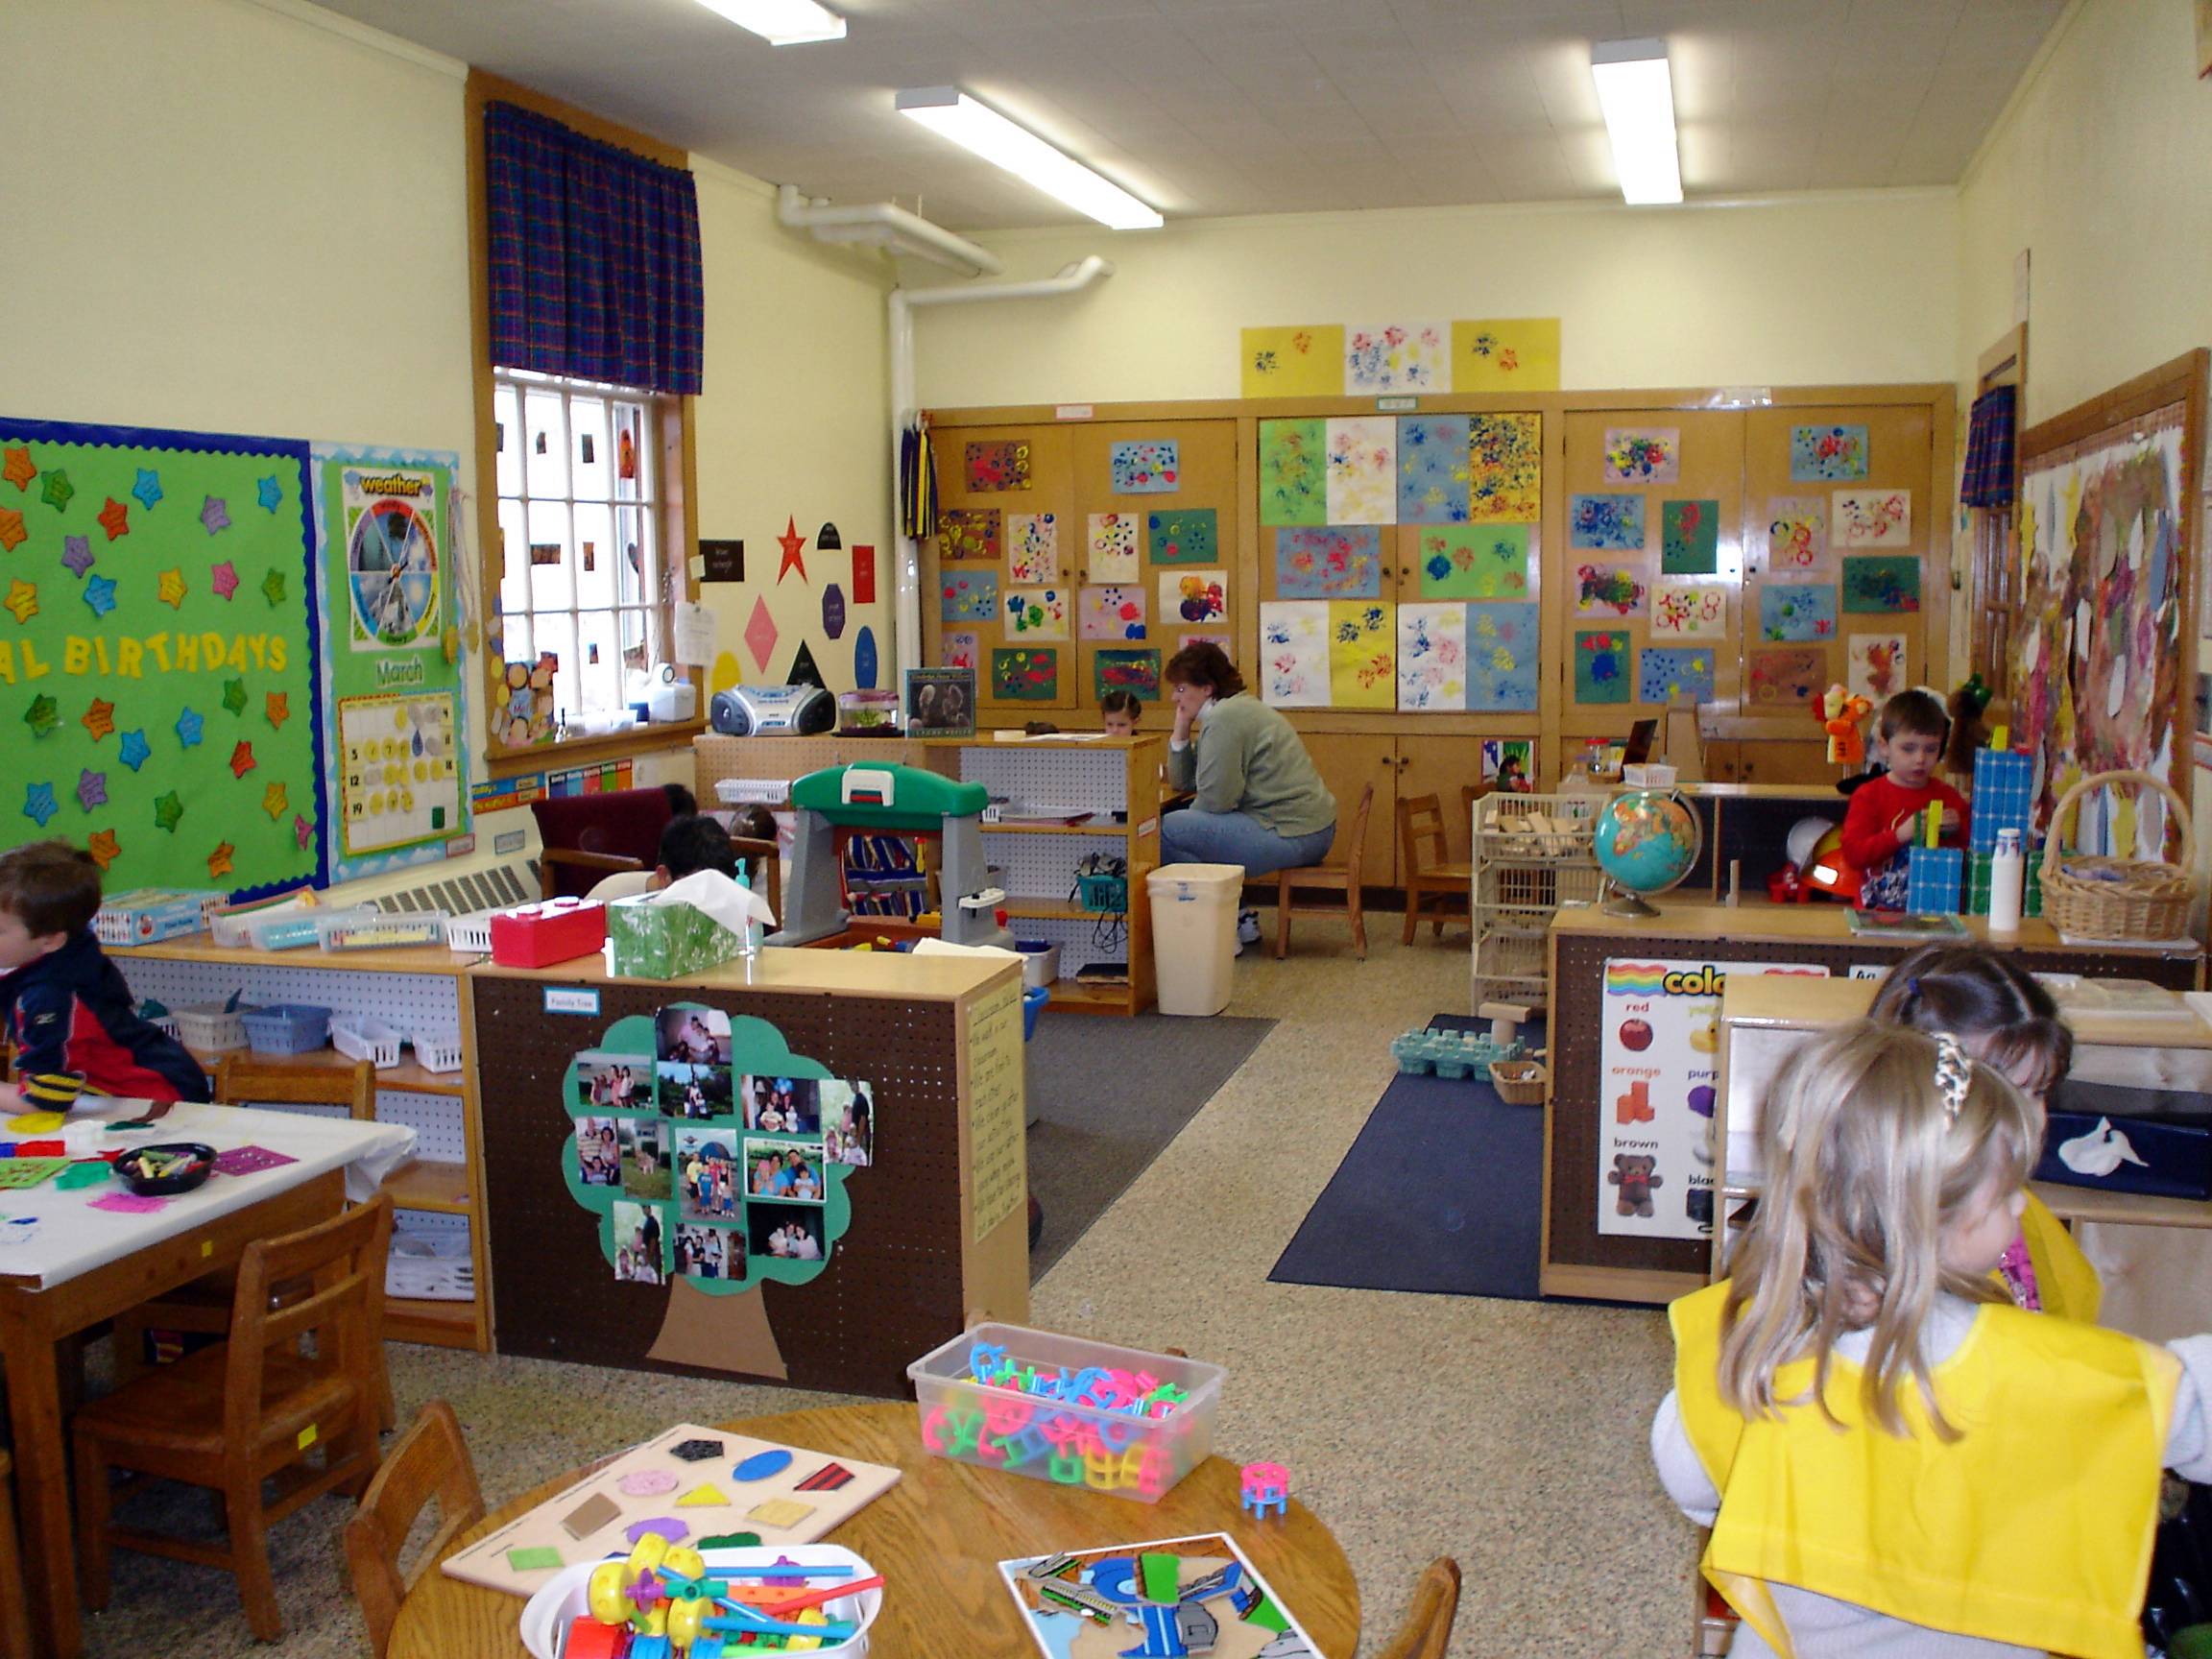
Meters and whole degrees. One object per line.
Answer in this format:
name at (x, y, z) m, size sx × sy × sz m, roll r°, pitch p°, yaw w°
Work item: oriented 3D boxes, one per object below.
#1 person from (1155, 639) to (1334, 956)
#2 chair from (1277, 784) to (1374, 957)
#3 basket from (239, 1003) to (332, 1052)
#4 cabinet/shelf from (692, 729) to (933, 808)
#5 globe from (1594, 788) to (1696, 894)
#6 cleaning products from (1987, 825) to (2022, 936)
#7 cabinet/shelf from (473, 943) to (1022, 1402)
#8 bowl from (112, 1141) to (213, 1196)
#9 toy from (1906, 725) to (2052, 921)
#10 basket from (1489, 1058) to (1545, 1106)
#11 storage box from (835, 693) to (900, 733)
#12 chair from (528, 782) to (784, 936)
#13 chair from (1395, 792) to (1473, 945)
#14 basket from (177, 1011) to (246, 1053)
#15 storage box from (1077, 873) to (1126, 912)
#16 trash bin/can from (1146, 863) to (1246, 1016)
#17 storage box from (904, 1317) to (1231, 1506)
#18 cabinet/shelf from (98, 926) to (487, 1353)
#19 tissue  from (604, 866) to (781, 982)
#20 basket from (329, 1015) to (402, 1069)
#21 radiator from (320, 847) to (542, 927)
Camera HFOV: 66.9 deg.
person at (0.675, -0.207, 9.136) m, size 1.176 × 1.567 × 0.845 m, roll -3°, pitch 4°, yaw 5°
chair at (1.236, 0.229, 9.402) m, size 0.685 × 0.911 × 0.714 m, roll -1°, pitch 1°, yaw -35°
basket at (-2.321, 0.562, 4.735) m, size 0.178 × 0.081 × 0.139 m, roll 2°, pitch 5°, yaw 9°
cabinet/shelf at (-1.467, -0.283, 8.003) m, size 1.228 × 0.326 × 0.339 m, roll 2°, pitch 10°, yaw 12°
globe at (1.535, 0.025, 4.822) m, size 0.282 × 0.340 × 0.266 m, roll -3°, pitch 4°, yaw 19°
cleaning products at (2.344, 0.135, 4.374) m, size 0.077 × 0.255 × 0.196 m, roll 4°, pitch 11°, yaw 27°
cabinet/shelf at (-0.909, 0.918, 4.542) m, size 1.408 × 1.083 × 0.546 m, roll 1°, pitch 4°, yaw 22°
bowl at (-1.976, 0.721, 3.566) m, size 0.116 × 0.044 × 0.119 m, roll 3°, pitch 2°, yaw 0°
toy at (2.387, -0.004, 4.580) m, size 0.423 × 0.613 × 0.436 m, roll 0°, pitch 1°, yaw 7°
basket at (1.623, 0.996, 6.607) m, size 0.181 × 0.089 × 0.266 m, roll 0°, pitch 3°, yaw 1°
storage box at (-1.206, -0.601, 8.570) m, size 0.259 × 0.190 × 0.379 m, roll 0°, pitch 7°, yaw 4°
chair at (-1.948, 0.309, 7.159) m, size 0.888 × 0.917 × 0.912 m, roll 1°, pitch 2°, yaw -31°
chair at (1.917, 0.220, 9.246) m, size 0.502 × 0.799 × 0.570 m, roll 2°, pitch 7°, yaw 36°
basket at (-2.528, 0.566, 4.752) m, size 0.156 × 0.085 × 0.116 m, roll 0°, pitch 1°, yaw 41°
storage box at (-0.019, 0.309, 8.106) m, size 0.286 × 0.203 × 0.160 m, roll 1°, pitch 3°, yaw 28°
trash bin/can at (0.406, 0.519, 8.002) m, size 0.420 × 0.699 × 0.383 m, roll 2°, pitch 10°, yaw 15°
storage box at (-0.071, 0.919, 2.669) m, size 0.364 × 0.127 × 0.243 m, roll 3°, pitch 8°, yaw 23°
cabinet/shelf at (-1.984, 0.790, 4.157) m, size 1.127 × 1.108 × 0.418 m, roll 0°, pitch 2°, yaw 16°
tissue  at (-1.094, 0.225, 4.422) m, size 0.422 × 0.276 × 0.435 m, roll -3°, pitch 8°, yaw -32°
basket at (-2.091, 0.585, 4.760) m, size 0.261 × 0.099 × 0.144 m, roll 4°, pitch 7°, yaw 44°
radiator at (-2.684, 0.252, 6.888) m, size 0.254 × 0.240 × 1.125 m, roll 3°, pitch 10°, yaw 19°
